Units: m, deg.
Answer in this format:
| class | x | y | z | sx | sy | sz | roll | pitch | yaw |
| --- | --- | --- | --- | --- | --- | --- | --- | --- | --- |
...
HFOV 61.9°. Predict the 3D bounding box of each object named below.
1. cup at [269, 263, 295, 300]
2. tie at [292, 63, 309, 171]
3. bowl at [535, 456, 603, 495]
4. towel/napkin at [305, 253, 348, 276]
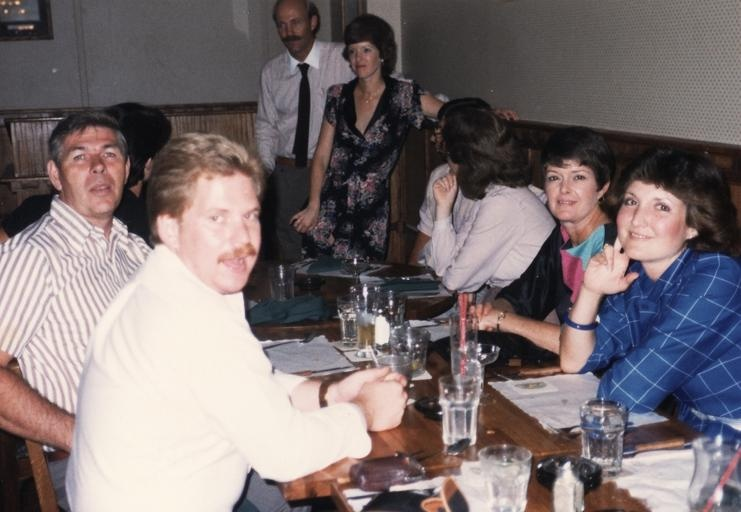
| class | x | y | z | sx | sy | sz | roll | pitch | yaw |
| --- | --- | --- | --- | --- | --- | --- | --- | --- | --- |
| cup | -0.419 | 0.117 | 3.018 | 0.155 | 0.176 | 0.152 | 1 | 0 | 0 |
| tie | -0.566 | -1.139 | 5.050 | 0.168 | 0.826 | 0.103 | -1 | 15 | 7 |
| bowl | 0.520 | 0.568 | 1.634 | 0.109 | 0.030 | 0.111 | 0 | 6 | 0 |
| towel/napkin | -0.242 | 0.057 | 3.456 | 0.134 | 0.041 | 0.136 | 18 | 23 | 38 |
